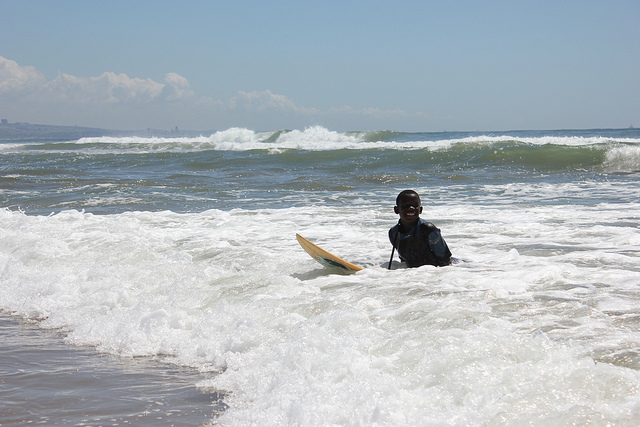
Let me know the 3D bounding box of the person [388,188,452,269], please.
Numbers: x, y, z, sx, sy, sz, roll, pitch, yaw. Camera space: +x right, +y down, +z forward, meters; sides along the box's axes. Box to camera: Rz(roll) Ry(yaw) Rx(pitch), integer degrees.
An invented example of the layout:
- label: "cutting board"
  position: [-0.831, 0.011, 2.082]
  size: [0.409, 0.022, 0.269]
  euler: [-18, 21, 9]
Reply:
- label: "person"
  position: [1.201, 0.222, 7.463]
  size: [0.522, 1.036, 0.724]
  euler: [-5, 9, -43]

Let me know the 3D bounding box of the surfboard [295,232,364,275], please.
- label: "surfboard"
  position: [0.150, 0.598, 8.566]
  size: [1.018, 0.166, 0.110]
  euler: [26, 35, 19]
